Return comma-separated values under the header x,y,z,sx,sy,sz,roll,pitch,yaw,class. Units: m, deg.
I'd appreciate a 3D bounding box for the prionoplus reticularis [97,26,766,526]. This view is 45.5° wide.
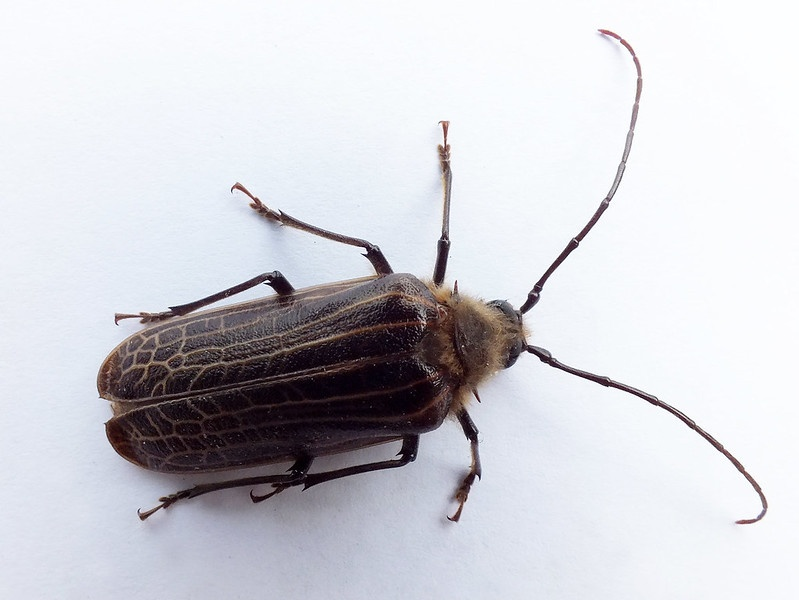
x,y,z,sx,sy,sz,roll,pitch,yaw,class
-0.707,0.677,8.698,4.222,1.608,2.578,-24,71,-16,prionoplus reticularis
